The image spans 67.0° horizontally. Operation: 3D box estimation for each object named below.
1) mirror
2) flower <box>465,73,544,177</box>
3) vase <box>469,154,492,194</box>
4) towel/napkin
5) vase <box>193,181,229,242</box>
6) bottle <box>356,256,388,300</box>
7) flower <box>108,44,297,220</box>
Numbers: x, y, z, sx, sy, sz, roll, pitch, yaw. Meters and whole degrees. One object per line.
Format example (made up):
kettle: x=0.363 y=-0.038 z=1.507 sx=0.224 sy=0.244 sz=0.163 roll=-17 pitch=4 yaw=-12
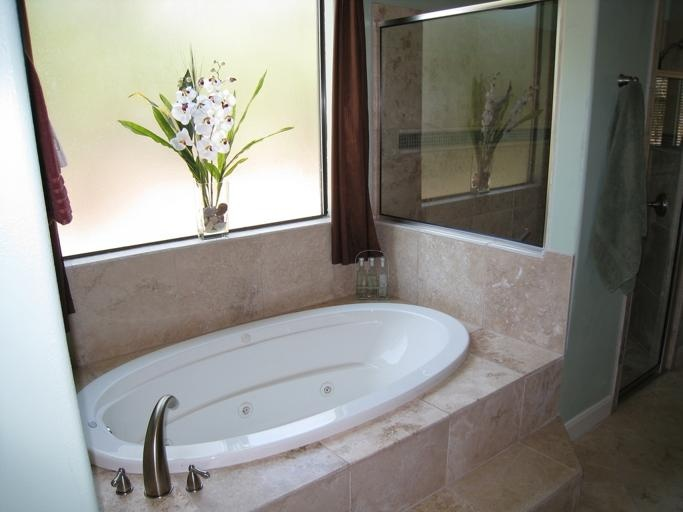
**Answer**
mirror: x=0.632 y=-0.667 z=2.555 sx=0.024 sy=1.314 sz=1.165 roll=-14 pitch=18 yaw=-38
flower: x=0.749 y=-0.573 z=2.430 sx=0.111 sy=0.508 sz=0.398 roll=-11 pitch=21 yaw=-20
vase: x=0.683 y=-0.412 z=2.596 sx=0.102 sy=0.192 sz=0.107 roll=-2 pitch=12 yaw=-4
towel/napkin: x=1.215 y=-0.297 z=2.238 sx=0.227 sy=0.909 sz=0.236 roll=4 pitch=21 yaw=17
vase: x=-0.681 y=-0.205 z=2.619 sx=0.168 sy=0.254 sz=0.176 roll=-19 pitch=2 yaw=22
bottle: x=0.180 y=0.126 z=3.044 sx=0.205 sy=0.339 sz=0.103 roll=-1 pitch=7 yaw=-6
flower: x=-0.692 y=-0.556 z=2.558 sx=0.633 sy=0.667 sz=0.608 roll=31 pitch=46 yaw=32
